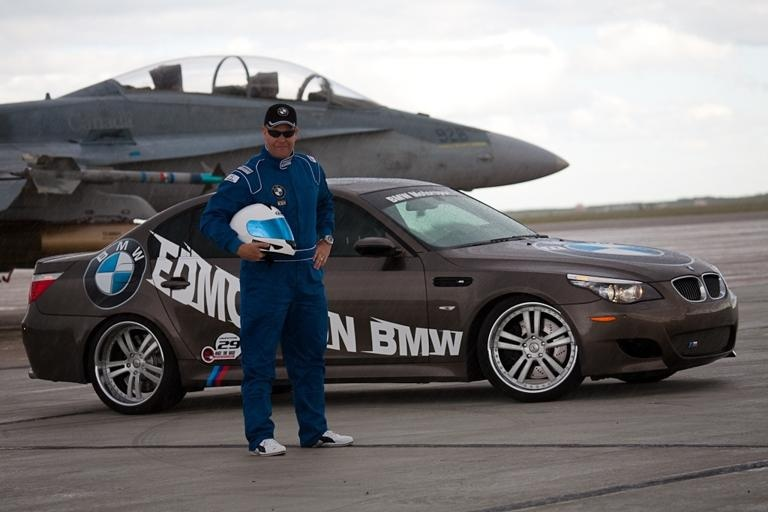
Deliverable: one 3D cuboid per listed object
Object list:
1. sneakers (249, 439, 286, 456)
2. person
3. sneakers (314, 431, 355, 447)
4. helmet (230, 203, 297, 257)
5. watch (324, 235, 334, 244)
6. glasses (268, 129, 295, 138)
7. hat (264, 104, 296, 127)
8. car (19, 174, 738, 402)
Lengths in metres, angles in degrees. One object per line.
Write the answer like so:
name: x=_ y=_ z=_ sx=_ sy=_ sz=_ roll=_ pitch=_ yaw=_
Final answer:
sneakers: x=-0.878 y=1.478 z=5.292 sx=0.286 sy=0.097 sz=0.106 roll=-4 pitch=-5 yaw=19
person: x=-0.852 y=0.171 z=5.433 sx=1.051 sy=2.705 sz=0.577 roll=-3 pitch=4 yaw=-13
sneakers: x=-0.388 y=1.459 z=5.487 sx=0.356 sy=0.119 sz=0.116 roll=-4 pitch=-2 yaw=3
helmet: x=-0.869 y=-0.215 z=5.325 sx=0.530 sy=0.349 sz=0.344 roll=1 pitch=1 yaw=3
watch: x=-0.464 y=-0.139 z=5.633 sx=0.028 sy=0.076 sz=0.080 roll=-13 pitch=-19 yaw=41
glasses: x=-0.795 y=-0.963 z=5.385 sx=0.204 sy=0.064 sz=0.054 roll=-2 pitch=4 yaw=-10
hat: x=-0.825 y=-1.126 z=5.488 sx=0.239 sy=0.229 sz=0.344 roll=-3 pitch=4 yaw=-9
car: x=-0.428 y=0.619 z=7.538 sx=7.130 sy=1.772 sz=2.805 roll=-2 pitch=-1 yaw=8
